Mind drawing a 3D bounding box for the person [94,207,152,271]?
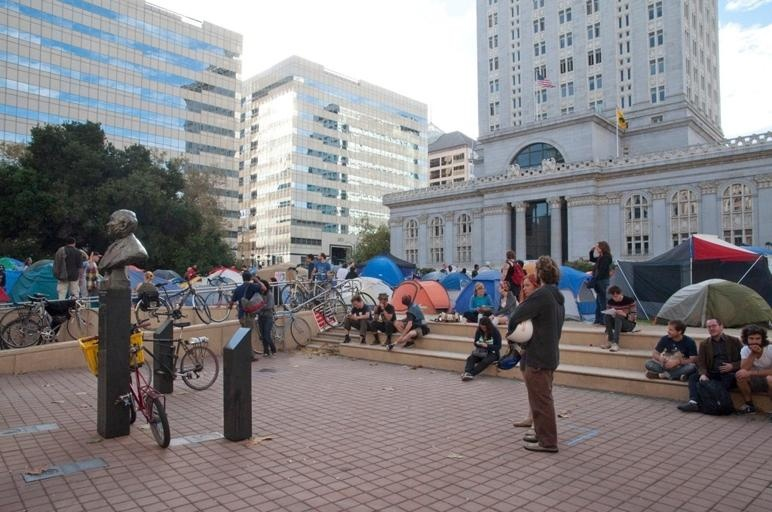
[{"bbox_3d":[-7.705,-0.452,18.961,1.190,1.464,1.348,-1,-1,-23],"label":"person"}]

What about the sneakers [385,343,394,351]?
[{"bbox_3d":[0.137,3.455,24.514,0.199,0.198,0.441,1,-10,-14],"label":"sneakers"}]

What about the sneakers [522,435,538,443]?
[{"bbox_3d":[4.025,5.095,18.046,0.396,0.150,0.150,1,-8,16],"label":"sneakers"}]

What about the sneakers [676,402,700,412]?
[{"bbox_3d":[9.179,4.599,19.743,0.676,0.280,0.241,-1,-13,10],"label":"sneakers"}]

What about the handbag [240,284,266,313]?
[{"bbox_3d":[-5.000,1.581,24.238,0.883,1.017,0.482,-10,-17,-8],"label":"handbag"}]

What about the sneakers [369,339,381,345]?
[{"bbox_3d":[-0.398,3.386,25.176,0.434,0.167,0.154,1,-6,18],"label":"sneakers"}]
